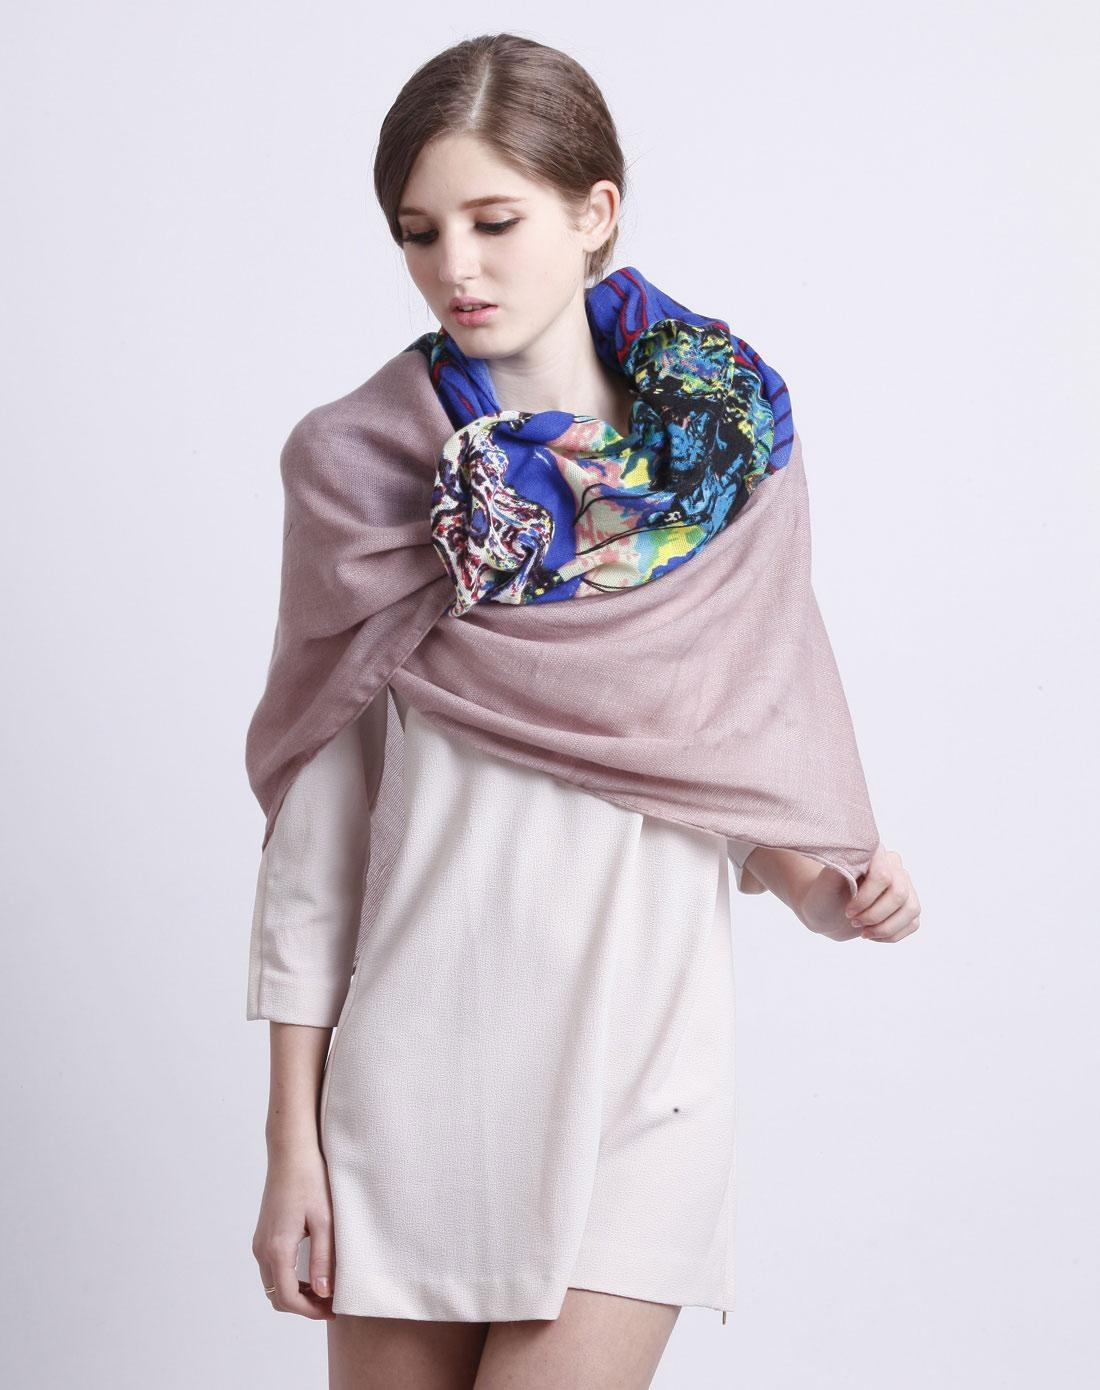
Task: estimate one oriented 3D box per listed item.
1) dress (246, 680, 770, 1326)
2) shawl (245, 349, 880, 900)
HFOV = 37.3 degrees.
[{"bbox_3d":[-0.062,0.247,1.330,0.426,0.476,0.247,1,7,14],"label":"dress"},{"bbox_3d":[-0.006,-0.084,1.436,0.624,0.436,0.290,-1,16,-20],"label":"shawl"}]
